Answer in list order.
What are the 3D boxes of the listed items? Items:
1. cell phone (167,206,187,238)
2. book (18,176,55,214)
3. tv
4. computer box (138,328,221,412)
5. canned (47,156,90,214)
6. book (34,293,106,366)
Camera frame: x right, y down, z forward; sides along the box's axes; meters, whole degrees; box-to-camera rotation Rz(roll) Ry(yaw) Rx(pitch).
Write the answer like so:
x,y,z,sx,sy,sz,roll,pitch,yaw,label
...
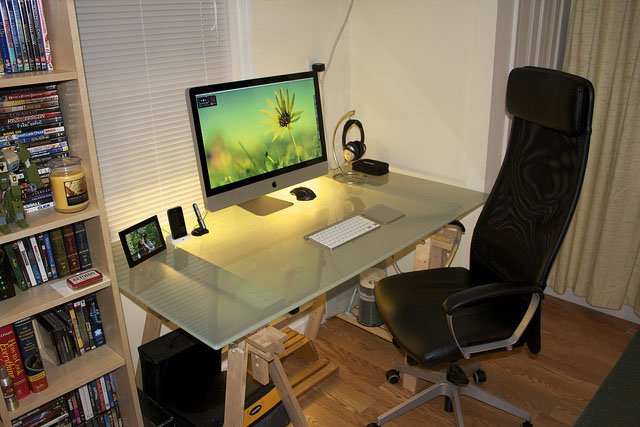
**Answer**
x,y,z,sx,sy,sz,roll,pitch,yaw,label
-0.750,0.051,2.335,0.020,0.201,0.111,5,20,38,cell phone
-1.194,-0.082,1.874,0.094,0.127,0.130,-4,11,40,book
-0.374,-0.382,2.458,0.743,0.562,0.140,-22,35,-37,tv
-0.726,0.803,2.284,0.218,0.367,0.424,19,29,40,computer box
-1.048,-0.118,1.872,0.141,0.210,0.106,-15,25,-24,canned
-1.121,0.508,1.986,0.197,0.271,0.264,-24,23,-40,book
